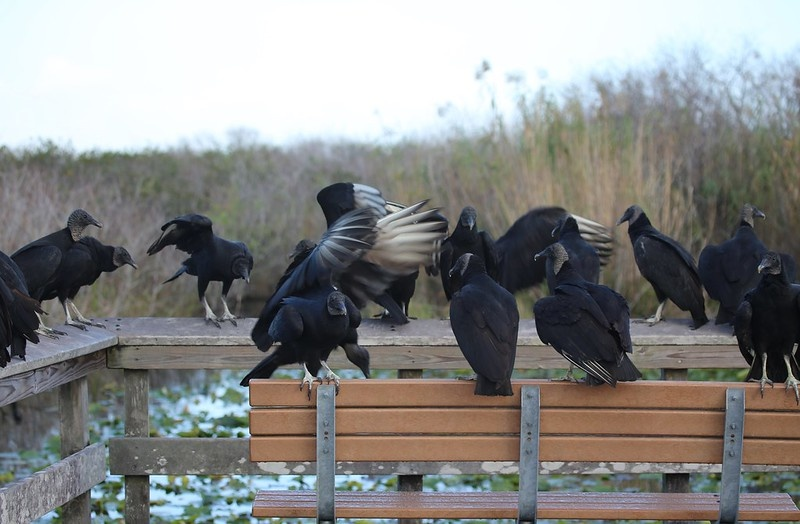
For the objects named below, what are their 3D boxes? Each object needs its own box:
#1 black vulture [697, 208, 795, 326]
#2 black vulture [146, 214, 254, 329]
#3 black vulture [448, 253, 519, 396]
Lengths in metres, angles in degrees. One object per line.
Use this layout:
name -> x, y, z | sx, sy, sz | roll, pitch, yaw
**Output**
black vulture -> 2.692, 0.047, 10.319 | 0.670, 0.905, 0.644 | -1, -3, 20
black vulture -> -1.513, 0.056, 10.121 | 0.744, 0.856, 0.546 | -3, 2, -14
black vulture -> 0.562, 0.402, 8.845 | 0.439, 0.914, 0.578 | -3, 2, 5
